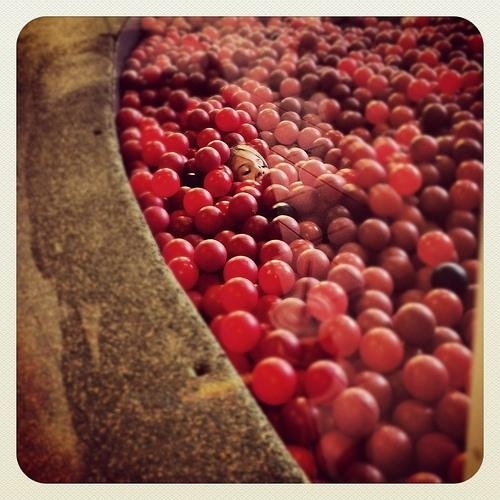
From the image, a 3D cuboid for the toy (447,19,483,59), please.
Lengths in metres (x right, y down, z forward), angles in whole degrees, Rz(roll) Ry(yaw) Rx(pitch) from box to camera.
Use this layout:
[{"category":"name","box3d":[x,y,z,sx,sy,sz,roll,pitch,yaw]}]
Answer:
[{"category":"toy","box3d":[0.603,-0.606,1.402,0.032,0.103,0.100,-25,59,1]}]

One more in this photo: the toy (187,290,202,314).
[{"category":"toy","box3d":[-0.143,0.132,1.262,0.039,0.054,0.042,-6,-7,-15]}]

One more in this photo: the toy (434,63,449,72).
[{"category":"toy","box3d":[0.538,-0.513,1.377,0.030,0.028,0.027,-15,41,-10]}]

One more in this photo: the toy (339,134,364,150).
[{"category":"toy","box3d":[0.274,-0.293,1.331,0.043,0.048,0.052,3,-14,-27]}]

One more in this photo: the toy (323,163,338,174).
[{"category":"toy","box3d":[0.215,-0.217,1.308,0.036,0.016,0.025,12,36,13]}]

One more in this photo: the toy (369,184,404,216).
[{"category":"toy","box3d":[0.353,-0.128,1.277,0.085,0.066,0.054,11,34,12]}]

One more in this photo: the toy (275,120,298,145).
[{"category":"toy","box3d":[0.098,-0.331,1.387,0.059,0.078,0.060,-13,25,-4]}]

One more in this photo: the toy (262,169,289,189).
[{"category":"toy","box3d":[0.065,-0.189,1.317,0.050,0.068,0.052,-2,0,10]}]

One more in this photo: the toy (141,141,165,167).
[{"category":"toy","box3d":[-0.271,-0.268,1.357,0.060,0.081,0.062,1,-3,-13]}]

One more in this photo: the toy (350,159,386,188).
[{"category":"toy","box3d":[0.315,-0.200,1.291,0.086,0.057,0.056,11,35,12]}]

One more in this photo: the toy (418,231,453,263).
[{"category":"toy","box3d":[0.481,-0.005,1.277,0.092,0.068,0.057,-4,34,-10]}]

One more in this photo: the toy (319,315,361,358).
[{"category":"toy","box3d":[0.226,0.230,1.281,0.095,0.117,0.100,-26,59,7]}]

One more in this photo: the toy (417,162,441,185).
[{"category":"toy","box3d":[0.475,-0.202,1.297,0.053,0.058,0.055,-31,10,3]}]

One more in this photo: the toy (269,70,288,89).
[{"category":"toy","box3d":[0.086,-0.486,1.424,0.047,0.054,0.059,13,17,12]}]

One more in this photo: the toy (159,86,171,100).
[{"category":"toy","box3d":[-0.243,-0.455,1.428,0.029,0.038,0.032,17,32,-9]}]

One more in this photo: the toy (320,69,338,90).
[{"category":"toy","box3d":[0.224,-0.482,1.383,0.051,0.045,0.041,0,34,-3]}]

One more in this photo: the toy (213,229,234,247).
[{"category":"toy","box3d":[-0.070,-0.035,1.298,0.037,0.043,0.048,10,26,6]}]

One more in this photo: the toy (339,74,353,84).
[{"category":"toy","box3d":[0.270,-0.486,1.376,0.034,0.019,0.024,7,35,6]}]

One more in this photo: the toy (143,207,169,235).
[{"category":"toy","box3d":[-0.250,-0.085,1.318,0.062,0.054,0.057,-21,40,-30]}]

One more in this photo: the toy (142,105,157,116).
[{"category":"toy","box3d":[-0.287,-0.402,1.413,0.032,0.031,0.030,9,49,25]}]

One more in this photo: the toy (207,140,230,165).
[{"category":"toy","box3d":[-0.090,-0.271,1.389,0.053,0.070,0.058,-8,38,-4]}]

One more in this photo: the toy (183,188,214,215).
[{"category":"toy","box3d":[-0.148,-0.131,1.371,0.065,0.084,0.071,3,42,-7]}]

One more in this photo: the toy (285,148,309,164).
[{"category":"toy","box3d":[0.129,-0.259,1.335,0.059,0.027,0.039,20,38,24]}]

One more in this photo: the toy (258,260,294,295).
[{"category":"toy","box3d":[0.070,0.077,1.297,0.078,0.100,0.088,-5,62,4]}]

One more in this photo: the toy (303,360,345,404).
[{"category":"toy","box3d":[0.182,0.327,1.251,0.092,0.113,0.104,3,67,-34]}]

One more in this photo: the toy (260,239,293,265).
[{"category":"toy","box3d":[0.070,0.008,1.305,0.071,0.065,0.065,-15,16,43]}]

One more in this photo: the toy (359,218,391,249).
[{"category":"toy","box3d":[0.322,-0.040,1.271,0.084,0.065,0.048,9,34,9]}]

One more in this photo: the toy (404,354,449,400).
[{"category":"toy","box3d":[0.429,0.316,1.197,0.095,0.125,0.106,-2,46,24]}]

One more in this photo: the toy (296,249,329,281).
[{"category":"toy","box3d":[0.160,0.039,1.254,0.079,0.080,0.075,-4,0,0]}]

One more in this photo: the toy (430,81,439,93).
[{"category":"toy","box3d":[0.510,-0.453,1.356,0.018,0.023,0.020,18,74,15]}]

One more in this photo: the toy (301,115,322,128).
[{"category":"toy","box3d":[0.170,-0.361,1.365,0.044,0.042,0.040,12,-8,21]}]

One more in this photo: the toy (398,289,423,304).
[{"category":"toy","box3d":[0.412,0.120,1.255,0.065,0.025,0.030,-3,35,-8]}]

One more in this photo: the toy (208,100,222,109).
[{"category":"toy","box3d":[-0.100,-0.413,1.385,0.029,0.018,0.023,34,61,21]}]

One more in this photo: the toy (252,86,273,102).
[{"category":"toy","box3d":[0.032,-0.440,1.386,0.050,0.050,0.047,2,8,16]}]

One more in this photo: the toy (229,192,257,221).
[{"category":"toy","box3d":[-0.020,-0.111,1.341,0.065,0.085,0.069,-3,41,-1]}]

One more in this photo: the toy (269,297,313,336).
[{"category":"toy","box3d":[0.102,0.170,1.237,0.096,0.055,0.083,38,84,4]}]

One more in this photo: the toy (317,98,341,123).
[{"category":"toy","box3d":[0.221,-0.391,1.364,0.063,0.050,0.045,7,34,7]}]

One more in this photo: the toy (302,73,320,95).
[{"category":"toy","box3d":[0.170,-0.473,1.393,0.050,0.046,0.040,5,34,4]}]

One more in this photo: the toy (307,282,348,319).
[{"category":"toy","box3d":[0.196,0.136,1.291,0.086,0.111,0.091,-4,46,-1]}]

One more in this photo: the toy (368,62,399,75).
[{"category":"toy","box3d":[0.372,-0.510,1.374,0.045,0.018,0.048,20,20,-3]}]

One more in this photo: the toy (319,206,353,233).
[{"category":"toy","box3d":[0.224,-0.092,1.281,0.074,0.069,0.068,-16,50,-11]}]

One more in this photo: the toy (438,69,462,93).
[{"category":"toy","box3d":[0.558,-0.471,1.366,0.071,0.052,0.052,-16,38,-24]}]

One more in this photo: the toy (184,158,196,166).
[{"category":"toy","box3d":[-0.167,-0.246,1.358,0.031,0.016,0.024,5,35,4]}]

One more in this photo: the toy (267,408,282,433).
[{"category":"toy","box3d":[0.063,0.427,1.221,0.014,0.050,0.047,-8,-6,11]}]

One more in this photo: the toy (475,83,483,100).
[{"category":"toy","box3d":[0.638,-0.443,1.360,0.016,0.034,0.035,11,71,4]}]

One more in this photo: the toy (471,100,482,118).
[{"category":"toy","box3d":[0.625,-0.390,1.352,0.030,0.035,0.038,-7,23,34]}]

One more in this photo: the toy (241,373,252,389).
[{"category":"toy","box3d":[-0.007,0.331,1.236,0.021,0.029,0.032,-19,39,-28]}]
